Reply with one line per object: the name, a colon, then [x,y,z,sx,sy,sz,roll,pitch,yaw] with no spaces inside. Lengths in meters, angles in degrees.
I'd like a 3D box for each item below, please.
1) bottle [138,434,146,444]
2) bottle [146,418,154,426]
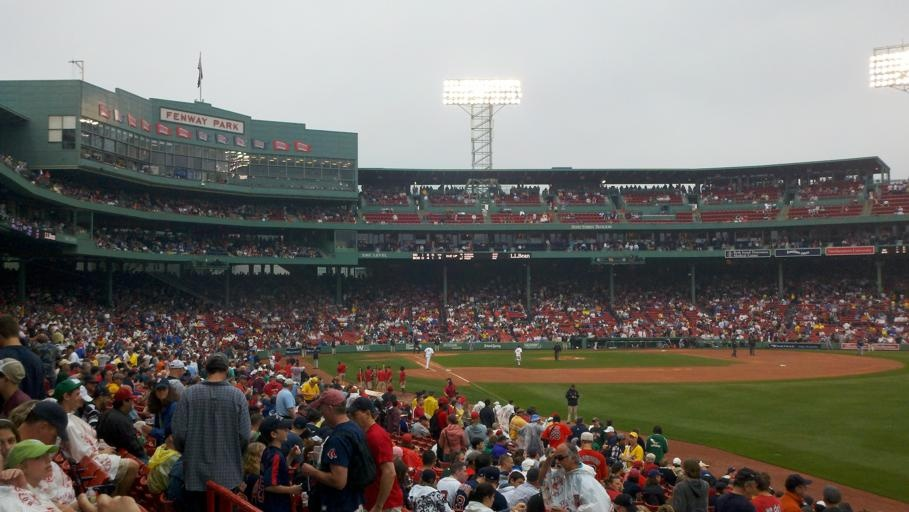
bottle: [-21.138,12.336,77.977,0.622,0.220,0.473,37,1,45]
bottle: [-20.808,11.261,78.383,0.416,0.182,0.543,3,4,16]
